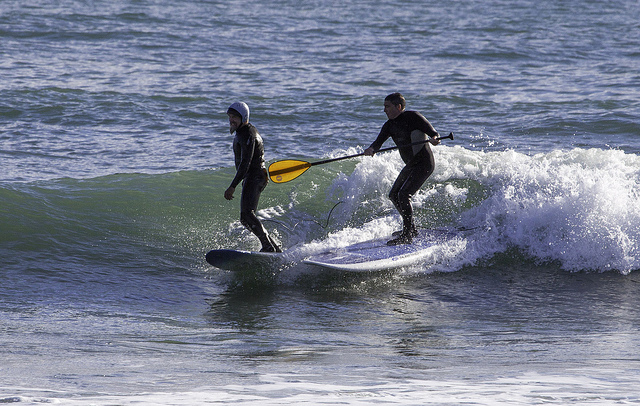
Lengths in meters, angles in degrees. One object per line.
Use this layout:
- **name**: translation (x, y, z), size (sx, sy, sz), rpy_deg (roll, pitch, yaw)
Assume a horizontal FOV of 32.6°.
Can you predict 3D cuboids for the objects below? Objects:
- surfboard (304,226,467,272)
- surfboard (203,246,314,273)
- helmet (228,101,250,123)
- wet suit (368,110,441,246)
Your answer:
- **surfboard**: translation (1.666, 1.227, 24.647), size (4.231, 0.322, 1.124), rpy_deg (-8, 17, -31)
- **surfboard**: translation (-0.990, 1.269, 24.131), size (3.149, 0.557, 0.349), rpy_deg (3, 29, -15)
- **helmet**: translation (-1.759, -1.958, 23.705), size (0.384, 0.434, 0.382), rpy_deg (-6, 30, -4)
- **wet suit**: translation (1.992, -0.559, 24.433), size (1.360, 3.053, 1.265), rpy_deg (-3, 33, 3)
